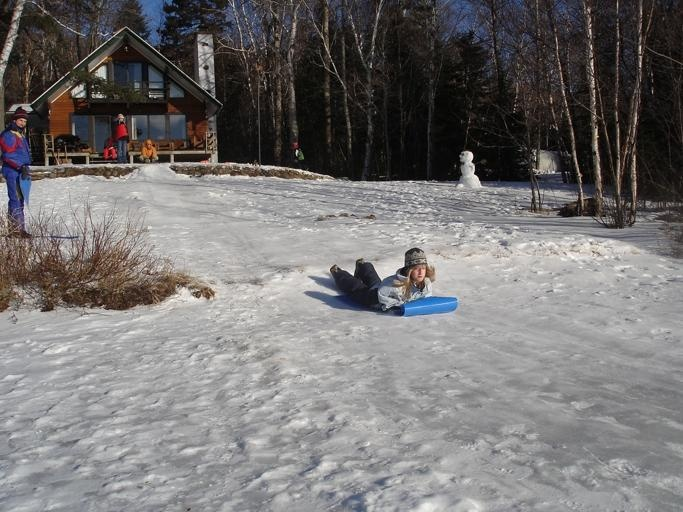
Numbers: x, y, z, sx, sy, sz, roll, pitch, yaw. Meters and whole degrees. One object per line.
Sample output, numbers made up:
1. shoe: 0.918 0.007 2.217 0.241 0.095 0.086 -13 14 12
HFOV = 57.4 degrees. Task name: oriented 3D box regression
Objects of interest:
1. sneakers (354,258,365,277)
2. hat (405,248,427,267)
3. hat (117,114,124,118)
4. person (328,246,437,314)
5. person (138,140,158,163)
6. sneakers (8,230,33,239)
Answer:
1. sneakers: 0.298 0.196 10.637 0.105 0.372 0.155 0 35 -6
2. hat: 1.096 0.031 9.292 0.337 0.204 0.299 -3 5 6
3. hat: -9.570 -5.999 27.142 0.205 0.276 0.972 -5 14 -19
4. person: 0.632 0.294 9.795 0.752 1.038 1.538 -13 19 -39
5. person: -9.398 -5.062 30.552 0.654 0.990 2.521 -5 14 -19
6. sneakers: -4.932 -0.313 9.598 0.305 0.101 0.268 -9 16 -33
